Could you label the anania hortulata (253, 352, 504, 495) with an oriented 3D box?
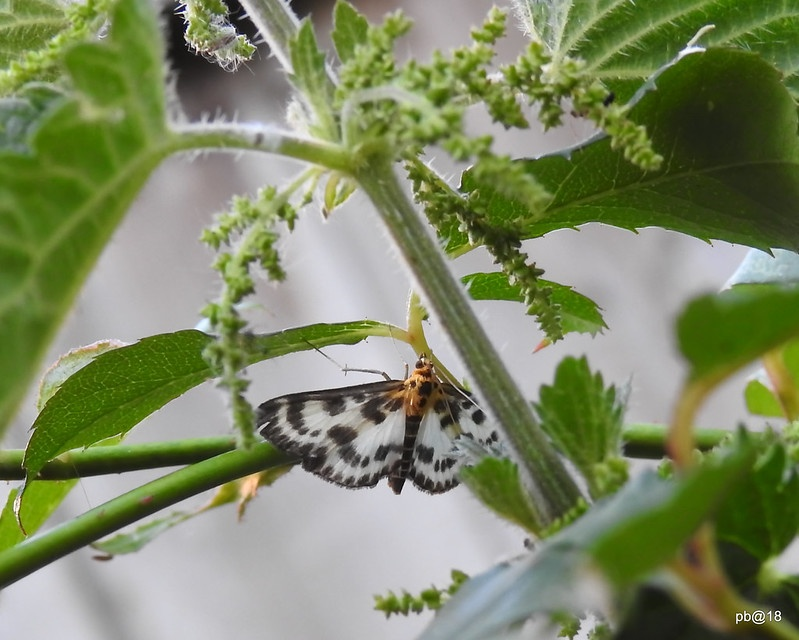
[{"bbox_3d":[0.020,0.155,1.351,0.410,0.238,0.117,-1,8,3],"label":"anania hortulata"}]
